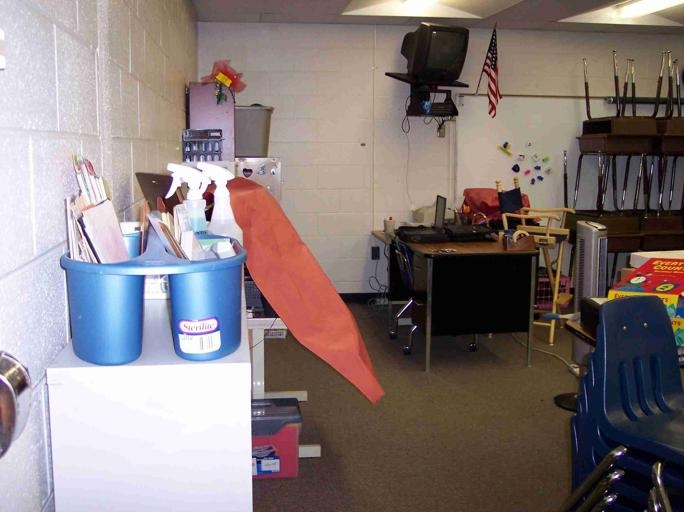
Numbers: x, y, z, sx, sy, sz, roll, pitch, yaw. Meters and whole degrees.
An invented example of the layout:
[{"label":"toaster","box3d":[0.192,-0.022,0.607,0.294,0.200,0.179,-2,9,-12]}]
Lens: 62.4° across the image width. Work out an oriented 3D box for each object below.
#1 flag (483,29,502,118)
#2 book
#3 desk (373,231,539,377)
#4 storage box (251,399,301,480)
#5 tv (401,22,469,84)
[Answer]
[{"label":"flag","box3d":[1.511,-1.843,5.675,0.203,0.870,0.472,2,11,14]},{"label":"book","box3d":[-0.644,-0.124,1.473,0.138,0.263,0.419,-5,12,-22]},{"label":"desk","box3d":[1.055,0.234,4.859,0.860,0.807,1.671,-1,9,6]},{"label":"storage box","box3d":[-0.321,0.889,2.724,0.228,0.365,0.199,-2,11,-10]},{"label":"tv","box3d":[0.868,-1.926,5.336,0.492,0.522,0.553,-4,32,-10]}]
